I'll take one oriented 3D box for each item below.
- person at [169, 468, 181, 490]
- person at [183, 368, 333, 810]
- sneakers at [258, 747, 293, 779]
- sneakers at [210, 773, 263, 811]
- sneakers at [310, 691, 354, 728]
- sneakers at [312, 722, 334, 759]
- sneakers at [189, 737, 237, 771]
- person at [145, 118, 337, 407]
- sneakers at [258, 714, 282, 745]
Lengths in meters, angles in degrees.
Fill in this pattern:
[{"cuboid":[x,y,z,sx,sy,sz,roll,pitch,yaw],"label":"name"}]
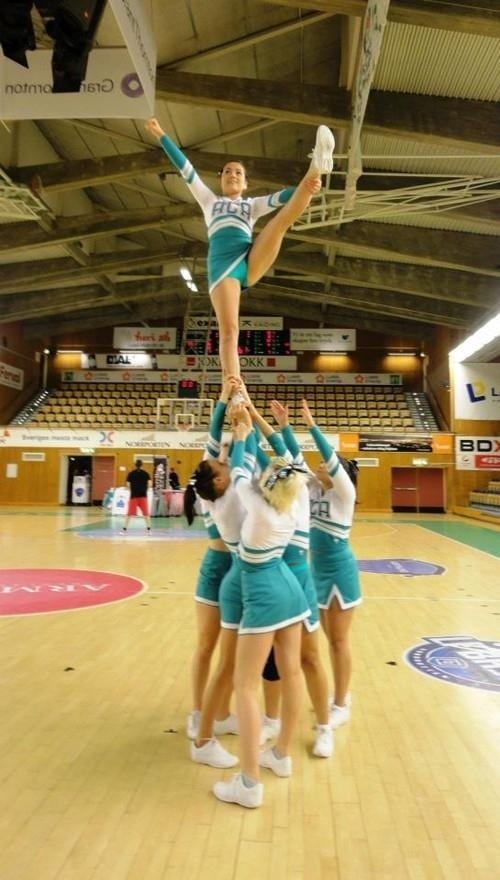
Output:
[{"cuboid":[-2.516,1.340,17.718,0.328,0.688,1.693,-2,-4,-9],"label":"person"},{"cuboid":[0.010,0.605,2.255,0.531,1.645,0.608,-1,-4,-12],"label":"person"},{"cuboid":[0.110,1.377,2.285,0.063,0.080,0.177,2,1,-23],"label":"sneakers"},{"cuboid":[-0.043,1.308,2.006,0.185,0.116,0.099,5,-16,29],"label":"sneakers"},{"cuboid":[0.413,1.380,2.689,0.157,0.199,0.483,-19,-24,5],"label":"sneakers"},{"cuboid":[0.338,1.387,2.413,0.055,0.077,0.169,-4,-8,5],"label":"sneakers"},{"cuboid":[-0.158,1.393,2.327,0.188,0.095,0.100,4,-6,7],"label":"sneakers"},{"cuboid":[0.028,-0.782,2.320,0.657,1.383,0.471,-3,-10,18],"label":"person"},{"cuboid":[0.104,1.430,2.612,0.082,0.114,0.257,-4,-15,3],"label":"sneakers"}]
